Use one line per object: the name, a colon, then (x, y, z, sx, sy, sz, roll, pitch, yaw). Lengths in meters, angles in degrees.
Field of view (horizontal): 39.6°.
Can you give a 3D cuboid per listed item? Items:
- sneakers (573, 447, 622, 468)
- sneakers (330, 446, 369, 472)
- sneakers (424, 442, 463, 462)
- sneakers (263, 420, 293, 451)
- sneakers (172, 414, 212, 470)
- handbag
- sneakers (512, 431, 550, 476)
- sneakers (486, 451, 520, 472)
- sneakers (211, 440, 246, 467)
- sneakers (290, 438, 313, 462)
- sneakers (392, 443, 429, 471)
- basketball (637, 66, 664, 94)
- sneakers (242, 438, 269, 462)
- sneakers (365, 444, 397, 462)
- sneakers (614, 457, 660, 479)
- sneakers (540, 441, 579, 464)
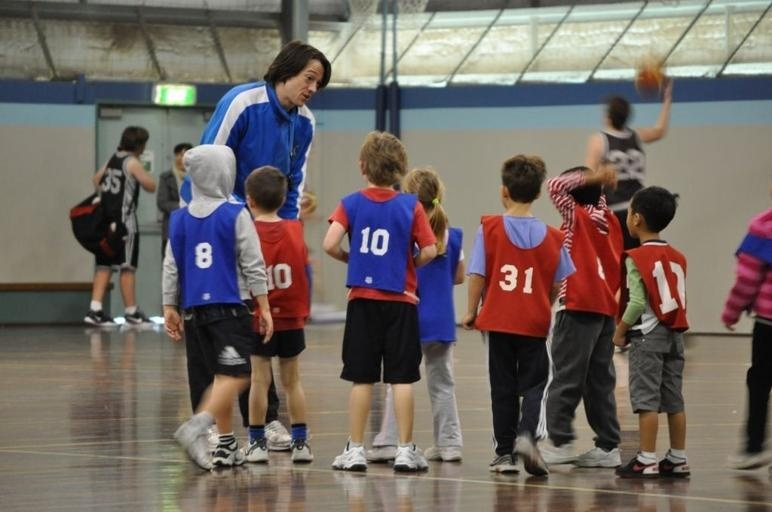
sneakers: (1.498, 1.422, 7.521, 0.354, 0.157, 0.129, 3, -10, 0)
sneakers: (-0.239, 1.374, 7.254, 0.120, 0.141, 0.275, 4, -4, -27)
sneakers: (0.412, 1.369, 7.520, 0.263, 0.130, 0.100, 6, 5, 34)
sneakers: (-0.781, 1.293, 7.720, 0.179, 0.185, 0.202, -1, 11, -6)
sneakers: (-1.292, 1.254, 7.199, 0.228, 0.400, 0.150, 5, 12, 24)
handbag: (-3.373, -0.306, 12.447, 0.733, 0.732, 0.323, 25, 29, 12)
sneakers: (0.977, 1.347, 7.162, 0.134, 0.378, 0.167, -32, 2, 1)
sneakers: (0.815, 1.409, 7.330, 0.209, 0.141, 0.103, 3, 0, 38)
sneakers: (-1.085, 1.358, 7.359, 0.111, 0.133, 0.267, 1, 0, 18)
sneakers: (-0.575, 1.353, 7.400, 0.148, 0.150, 0.091, 0, 11, -1)
sneakers: (0.159, 1.371, 7.251, 0.124, 0.140, 0.300, 0, -2, 14)
basketball: (3.065, -2.030, 12.371, 0.282, 0.248, 0.329, 6, 7, 16)
sneakers: (-0.904, 1.347, 7.415, 0.174, 0.157, 0.118, 0, 11, -2)
sneakers: (-0.032, 1.397, 7.542, 0.250, 0.111, 0.086, 2, -1, 1)
sneakers: (1.717, 1.456, 7.307, 0.304, 0.151, 0.121, 3, -6, 10)
sneakers: (1.212, 1.385, 7.514, 0.290, 0.131, 0.117, -3, 2, -16)
